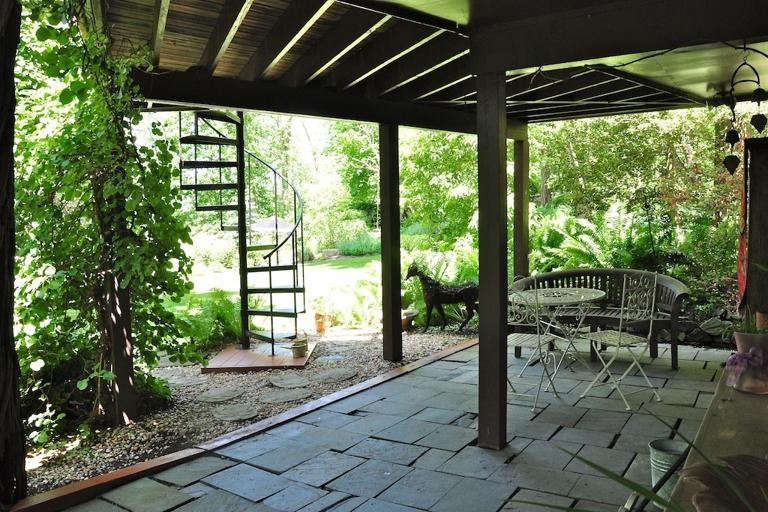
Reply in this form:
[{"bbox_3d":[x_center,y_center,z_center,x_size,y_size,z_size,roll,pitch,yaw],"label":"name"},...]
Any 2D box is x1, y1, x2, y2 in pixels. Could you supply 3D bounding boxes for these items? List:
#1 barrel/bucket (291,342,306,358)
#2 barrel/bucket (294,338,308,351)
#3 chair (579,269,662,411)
[{"bbox_3d":[-1.142,1.249,7.377,0.194,0.185,0.178,-2,9,0],"label":"barrel/bucket"},{"bbox_3d":[-1.125,1.192,7.432,0.152,0.121,0.183,-1,-4,2],"label":"barrel/bucket"},{"bbox_3d":[2.681,0.896,6.346,0.756,1.364,0.687,0,-1,0],"label":"chair"}]
